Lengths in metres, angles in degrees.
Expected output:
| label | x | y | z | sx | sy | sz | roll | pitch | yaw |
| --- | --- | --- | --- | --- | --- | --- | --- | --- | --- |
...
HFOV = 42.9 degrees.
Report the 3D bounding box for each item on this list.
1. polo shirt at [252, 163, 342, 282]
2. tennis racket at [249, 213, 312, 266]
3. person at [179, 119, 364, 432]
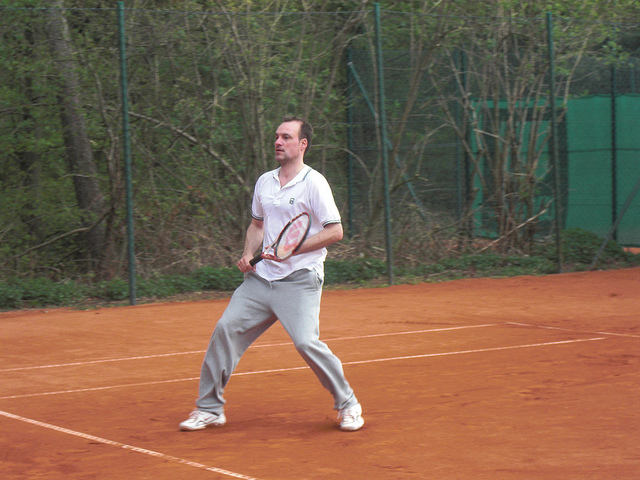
| label | x | y | z | sx | sy | sz | roll | pitch | yaw |
| --- | --- | --- | --- | --- | --- | --- | --- | --- | --- |
| polo shirt | -0.298 | -0.146 | 7.106 | 0.875 | 0.999 | 0.380 | 2 | 7 | 25 |
| tennis racket | -0.272 | -0.034 | 6.899 | 0.405 | 0.385 | 0.096 | 2 | 7 | 22 |
| person | -0.359 | 0.298 | 7.164 | 1.476 | 2.703 | 0.617 | 0 | 6 | 1 |
